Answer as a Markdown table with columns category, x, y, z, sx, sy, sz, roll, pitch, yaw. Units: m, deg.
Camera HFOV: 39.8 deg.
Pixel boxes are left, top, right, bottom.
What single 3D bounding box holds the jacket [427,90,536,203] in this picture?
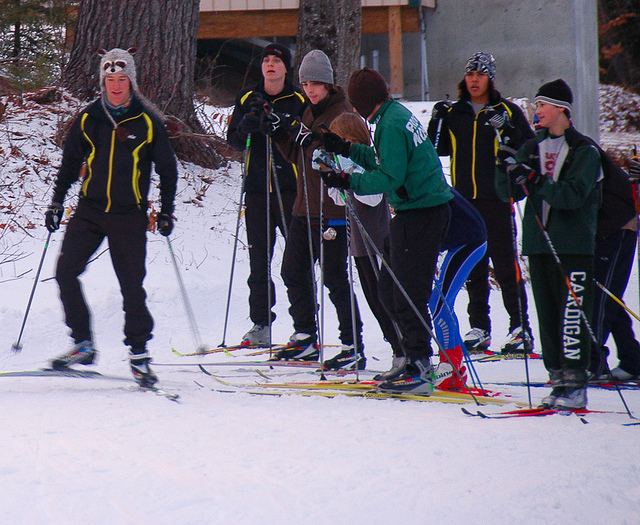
| category | x | y | z | sx | sy | sz | roll | pitch | yaw |
| --- | --- | --- | --- | --- | --- | --- | --- | --- | --- |
| jacket | 1.211 | -0.906 | 6.765 | 0.739 | 0.808 | 0.508 | 1 | 10 | 16 |

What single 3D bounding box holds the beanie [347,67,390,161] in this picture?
| category | x | y | z | sx | sy | sz | roll | pitch | yaw |
| --- | --- | --- | --- | --- | --- | --- | --- | --- | --- |
| beanie | 0.301 | -0.905 | 5.515 | 0.291 | 0.605 | 0.337 | -4 | 17 | 19 |

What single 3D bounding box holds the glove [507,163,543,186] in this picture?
| category | x | y | z | sx | sy | sz | roll | pitch | yaw |
| --- | --- | --- | --- | --- | --- | --- | --- | --- | --- |
| glove | 1.193 | -0.525 | 5.259 | 0.149 | 0.137 | 0.250 | -2 | 2 | -26 |

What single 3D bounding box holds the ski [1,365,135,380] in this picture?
| category | x | y | z | sx | sy | sz | roll | pitch | yaw |
| --- | --- | --- | --- | --- | --- | --- | --- | --- | --- |
| ski | -1.657 | 0.703 | 5.690 | 0.853 | 0.105 | 0.144 | 0 | 2 | 1 |

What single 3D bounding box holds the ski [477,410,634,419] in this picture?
| category | x | y | z | sx | sy | sz | roll | pitch | yaw |
| --- | --- | --- | --- | --- | --- | --- | --- | --- | --- |
| ski | 1.287 | 0.852 | 5.062 | 0.784 | 0.023 | 0.134 | -1 | 2 | -6 |

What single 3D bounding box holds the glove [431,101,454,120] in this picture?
| category | x | y | z | sx | sy | sz | roll | pitch | yaw |
| --- | --- | --- | --- | --- | --- | --- | --- | --- | --- |
| glove | 0.940 | -1.184 | 6.875 | 0.167 | 0.130 | 0.123 | 11 | 6 | 10 |

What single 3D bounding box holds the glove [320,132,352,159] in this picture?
| category | x | y | z | sx | sy | sz | roll | pitch | yaw |
| --- | --- | --- | --- | --- | --- | --- | --- | --- | --- |
| glove | 0.096 | -0.731 | 5.493 | 0.185 | 0.107 | 0.063 | 30 | -38 | -20 |

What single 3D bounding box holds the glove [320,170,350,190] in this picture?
| category | x | y | z | sx | sy | sz | roll | pitch | yaw |
| --- | --- | --- | --- | --- | --- | --- | --- | --- | --- |
| glove | 0.087 | -0.515 | 5.421 | 0.176 | 0.115 | 0.078 | -1 | 2 | 1 |

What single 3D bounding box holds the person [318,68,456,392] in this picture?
| category | x | y | z | sx | sy | sz | roll | pitch | yaw |
| --- | --- | --- | --- | --- | --- | --- | --- | --- | --- |
| person | 0.456 | -0.199 | 5.409 | 0.721 | 1.982 | 0.364 | 0 | 2 | 7 |

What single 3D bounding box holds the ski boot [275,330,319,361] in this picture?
| category | x | y | z | sx | sy | sz | roll | pitch | yaw |
| --- | --- | --- | --- | --- | --- | --- | --- | --- | --- |
| ski boot | -0.175 | 0.595 | 6.421 | 0.317 | 0.215 | 0.174 | -1 | 2 | 1 |

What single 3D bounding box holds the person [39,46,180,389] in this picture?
| category | x | y | z | sx | sy | sz | roll | pitch | yaw |
| --- | --- | --- | --- | --- | --- | --- | --- | --- | --- |
| person | -1.367 | -0.310 | 5.765 | 0.852 | 2.177 | 0.504 | -1 | 2 | -11 |

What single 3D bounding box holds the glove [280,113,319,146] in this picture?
| category | x | y | z | sx | sy | sz | roll | pitch | yaw |
| --- | --- | --- | --- | --- | --- | --- | --- | --- | --- |
| glove | -0.144 | -0.854 | 5.861 | 0.132 | 0.130 | 0.368 | 21 | 37 | -19 |

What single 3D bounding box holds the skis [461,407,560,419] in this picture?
| category | x | y | z | sx | sy | sz | roll | pitch | yaw |
| --- | --- | --- | --- | --- | --- | --- | --- | --- | --- |
| skis | 1.091 | 0.852 | 5.044 | 0.551 | 0.029 | 0.165 | -1 | 2 | -1 |

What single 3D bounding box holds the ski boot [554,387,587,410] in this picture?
| category | x | y | z | sx | sy | sz | roll | pitch | yaw |
| --- | --- | --- | --- | --- | --- | --- | --- | --- | --- |
| ski boot | 1.500 | 0.783 | 5.170 | 0.295 | 0.116 | 0.140 | -2 | 3 | -41 |

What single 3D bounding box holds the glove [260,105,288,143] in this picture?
| category | x | y | z | sx | sy | sz | roll | pitch | yaw |
| --- | --- | --- | --- | --- | --- | --- | --- | --- | --- |
| glove | -0.335 | -0.987 | 6.238 | 0.154 | 0.252 | 0.179 | 0 | 2 | 24 |

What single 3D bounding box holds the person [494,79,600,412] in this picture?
| category | x | y | z | sx | sy | sz | roll | pitch | yaw |
| --- | --- | --- | --- | --- | --- | --- | --- | --- | --- |
| person | 1.360 | -0.133 | 5.326 | 0.573 | 1.949 | 0.493 | 1 | 2 | 33 |

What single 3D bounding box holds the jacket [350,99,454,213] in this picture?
| category | x | y | z | sx | sy | sz | roll | pitch | yaw |
| --- | --- | --- | --- | --- | --- | --- | --- | --- | --- |
| jacket | 0.449 | -0.617 | 5.499 | 0.656 | 0.640 | 0.591 | -7 | 20 | 21 |

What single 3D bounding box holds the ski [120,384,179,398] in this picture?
| category | x | y | z | sx | sy | sz | roll | pitch | yaw |
| --- | --- | --- | --- | --- | --- | --- | --- | --- | --- |
| ski | -1.070 | 0.792 | 5.473 | 0.489 | 0.029 | 0.134 | 1 | 3 | 35 |

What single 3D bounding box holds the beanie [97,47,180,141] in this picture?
| category | x | y | z | sx | sy | sz | roll | pitch | yaw |
| --- | --- | --- | --- | --- | --- | --- | --- | --- | --- |
| beanie | -1.261 | -1.104 | 5.804 | 0.371 | 0.623 | 0.251 | -1 | 2 | -12 |

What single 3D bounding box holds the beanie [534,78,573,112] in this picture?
| category | x | y | z | sx | sy | sz | roll | pitch | yaw |
| --- | --- | --- | --- | --- | --- | --- | --- | --- | --- |
| beanie | 1.439 | -1.016 | 5.401 | 0.228 | 0.181 | 0.197 | 17 | 11 | -12 |

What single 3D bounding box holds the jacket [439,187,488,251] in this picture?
| category | x | y | z | sx | sy | sz | roll | pitch | yaw |
| --- | --- | --- | --- | --- | --- | --- | --- | --- | --- |
| jacket | 0.898 | -0.267 | 5.560 | 0.281 | 0.363 | 0.170 | 0 | 2 | 7 |

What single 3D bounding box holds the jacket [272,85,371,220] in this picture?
| category | x | y | z | sx | sy | sz | roll | pitch | yaw |
| --- | --- | --- | --- | --- | --- | --- | --- | --- | --- |
| jacket | 0.072 | -0.772 | 6.080 | 0.593 | 0.993 | 0.641 | 14 | 25 | 42 |

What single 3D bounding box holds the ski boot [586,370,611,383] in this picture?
| category | x | y | z | sx | sy | sz | roll | pitch | yaw |
| --- | --- | --- | --- | --- | --- | --- | --- | --- | --- |
| ski boot | 1.771 | 0.739 | 5.650 | 0.139 | 0.063 | 0.220 | 2 | 0 | 35 |

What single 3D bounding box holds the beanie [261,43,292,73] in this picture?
| category | x | y | z | sx | sy | sz | roll | pitch | yaw |
| --- | --- | --- | --- | --- | --- | --- | --- | --- | --- |
| beanie | -0.297 | -1.544 | 6.615 | 0.210 | 0.167 | 0.232 | 17 | 8 | 20 |

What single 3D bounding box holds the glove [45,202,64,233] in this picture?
| category | x | y | z | sx | sy | sz | roll | pitch | yaw |
| --- | --- | --- | --- | --- | --- | --- | --- | --- | --- |
| glove | -1.765 | -0.308 | 5.842 | 0.064 | 0.174 | 0.139 | 10 | 0 | 30 |

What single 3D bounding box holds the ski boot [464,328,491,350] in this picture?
| category | x | y | z | sx | sy | sz | roll | pitch | yaw |
| --- | --- | --- | --- | --- | --- | --- | --- | --- | --- |
| ski boot | 1.192 | 0.570 | 6.720 | 0.204 | 0.150 | 0.153 | -1 | 2 | -1 |

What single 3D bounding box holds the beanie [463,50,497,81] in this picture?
| category | x | y | z | sx | sy | sz | roll | pitch | yaw |
| --- | --- | --- | --- | --- | --- | --- | --- | --- | --- |
| beanie | 1.218 | -1.498 | 6.741 | 0.216 | 0.231 | 0.287 | 0 | 2 | 7 |

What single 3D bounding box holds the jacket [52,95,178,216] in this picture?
| category | x | y | z | sx | sy | sz | roll | pitch | yaw |
| --- | --- | --- | --- | --- | --- | --- | --- | --- | --- |
| jacket | -1.334 | -0.705 | 5.851 | 0.899 | 0.768 | 0.333 | 6 | 10 | 9 |

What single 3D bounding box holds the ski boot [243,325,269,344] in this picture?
| category | x | y | z | sx | sy | sz | roll | pitch | yaw |
| --- | --- | --- | --- | --- | --- | --- | --- | --- | --- |
| ski boot | -0.495 | 0.544 | 6.709 | 0.192 | 0.142 | 0.148 | -1 | 2 | -6 |

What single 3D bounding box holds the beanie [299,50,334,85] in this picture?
| category | x | y | z | sx | sy | sz | roll | pitch | yaw |
| --- | --- | --- | --- | --- | --- | --- | --- | --- | --- |
| beanie | -0.041 | -1.385 | 6.254 | 0.264 | 0.254 | 0.303 | 7 | 11 | 28 |

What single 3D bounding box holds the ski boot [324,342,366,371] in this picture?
| category | x | y | z | sx | sy | sz | roll | pitch | yaw |
| --- | --- | --- | --- | --- | --- | --- | --- | --- | --- |
| ski boot | 0.167 | 0.679 | 6.289 | 0.395 | 0.234 | 0.124 | 1 | -13 | -6 |
